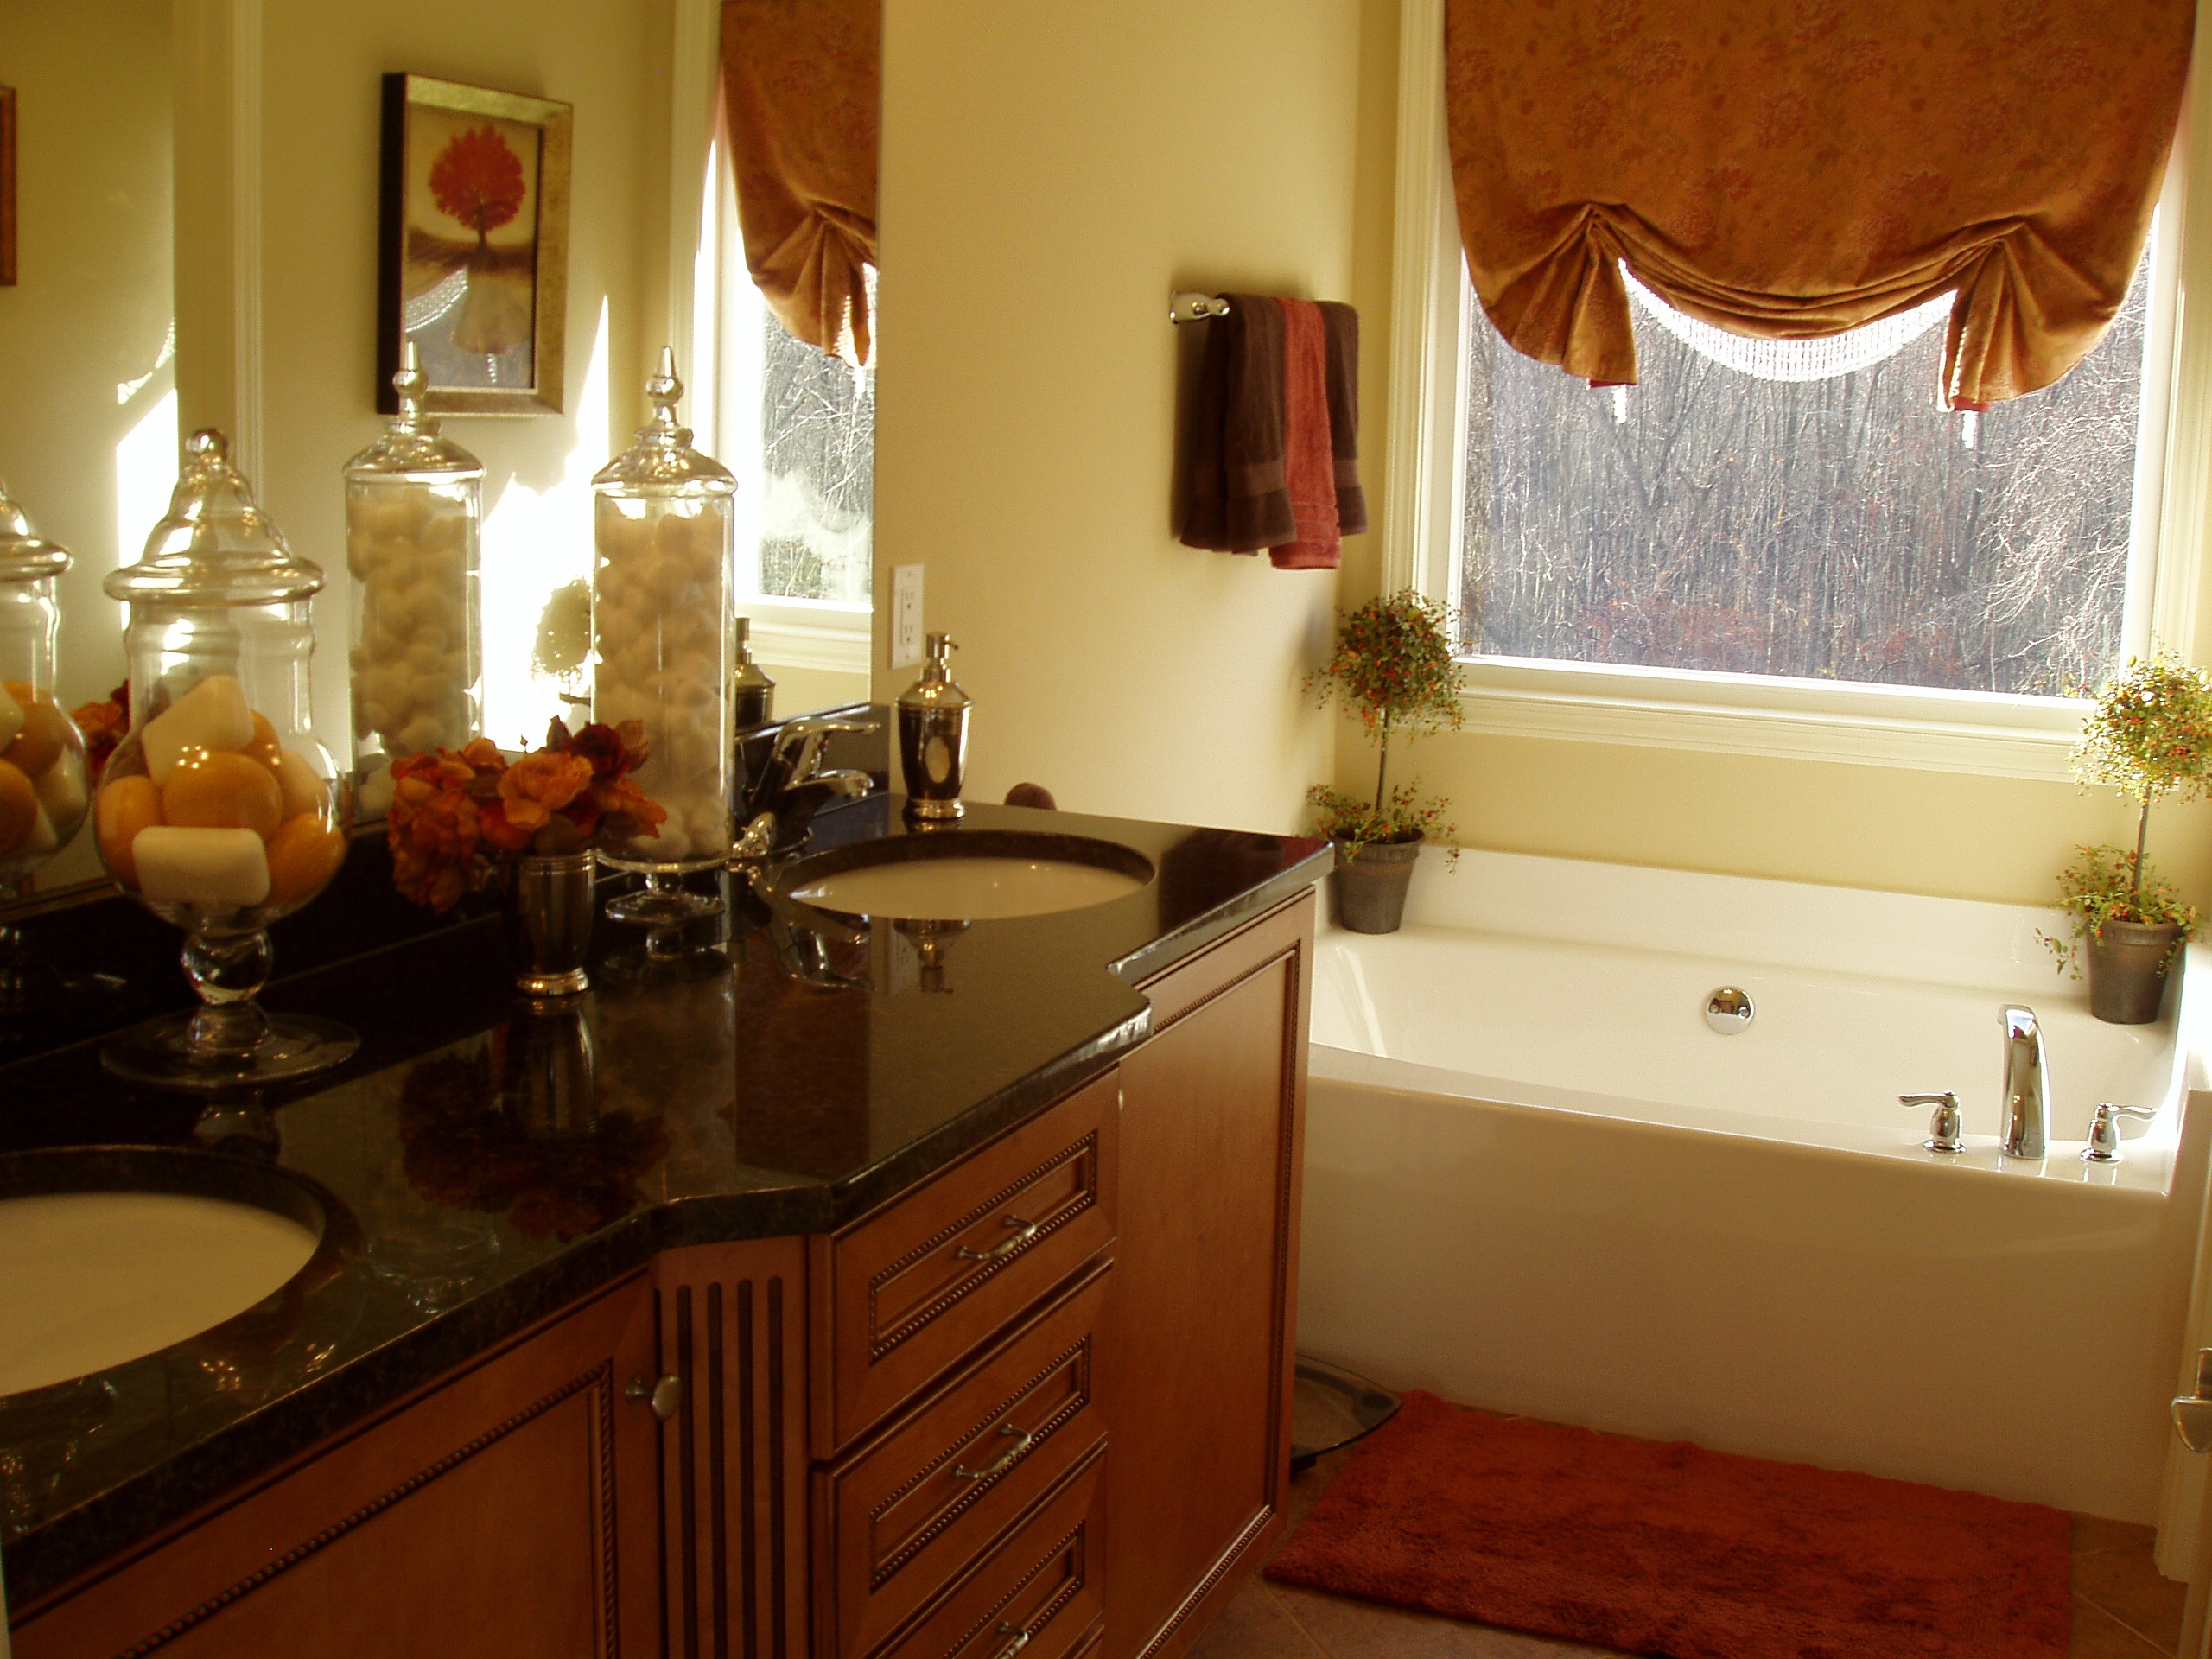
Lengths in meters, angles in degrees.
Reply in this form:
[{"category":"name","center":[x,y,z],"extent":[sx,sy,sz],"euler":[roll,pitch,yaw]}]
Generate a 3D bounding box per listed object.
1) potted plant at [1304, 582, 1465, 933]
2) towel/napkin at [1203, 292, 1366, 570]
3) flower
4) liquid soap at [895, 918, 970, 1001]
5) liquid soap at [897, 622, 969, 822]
[{"category":"potted plant","center":[0.669,-0.166,4.085],"extent":[0.347,0.796,0.343],"euler":[5,13,9]},{"category":"towel/napkin","center":[0.353,-0.813,3.480],"extent":[0.157,0.572,0.511],"euler":[5,11,31]},{"category":"flower","center":[-0.545,-0.013,1.644],"extent":[0.191,0.140,0.202],"euler":[-14,2,20]},{"category":"liquid soap","center":[-0.186,0.130,1.824],"extent":[0.060,0.075,0.064],"euler":[-1,-2,16]},{"category":"liquid soap","center":[-0.243,-0.145,2.419],"extent":[0.097,0.259,0.179],"euler":[1,13,-8]}]
